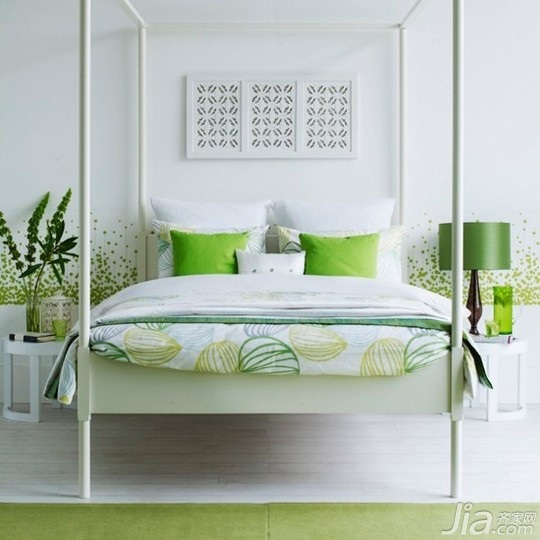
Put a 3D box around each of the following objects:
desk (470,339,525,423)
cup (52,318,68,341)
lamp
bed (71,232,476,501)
[{"bbox_3d":[1.312,0.589,3.774,0.304,0.470,0.512,3,6,30],"label":"desk"},{"bbox_3d":[-1.168,0.319,3.718,0.094,0.107,0.099,0,-7,0],"label":"cup"},{"bbox_3d":[1.204,0.045,3.892,0.456,0.673,0.461,0,-1,-4],"label":"lamp"},{"bbox_3d":[-0.029,0.338,2.748,0.957,0.746,0.956,-1,1,4],"label":"bed"}]
